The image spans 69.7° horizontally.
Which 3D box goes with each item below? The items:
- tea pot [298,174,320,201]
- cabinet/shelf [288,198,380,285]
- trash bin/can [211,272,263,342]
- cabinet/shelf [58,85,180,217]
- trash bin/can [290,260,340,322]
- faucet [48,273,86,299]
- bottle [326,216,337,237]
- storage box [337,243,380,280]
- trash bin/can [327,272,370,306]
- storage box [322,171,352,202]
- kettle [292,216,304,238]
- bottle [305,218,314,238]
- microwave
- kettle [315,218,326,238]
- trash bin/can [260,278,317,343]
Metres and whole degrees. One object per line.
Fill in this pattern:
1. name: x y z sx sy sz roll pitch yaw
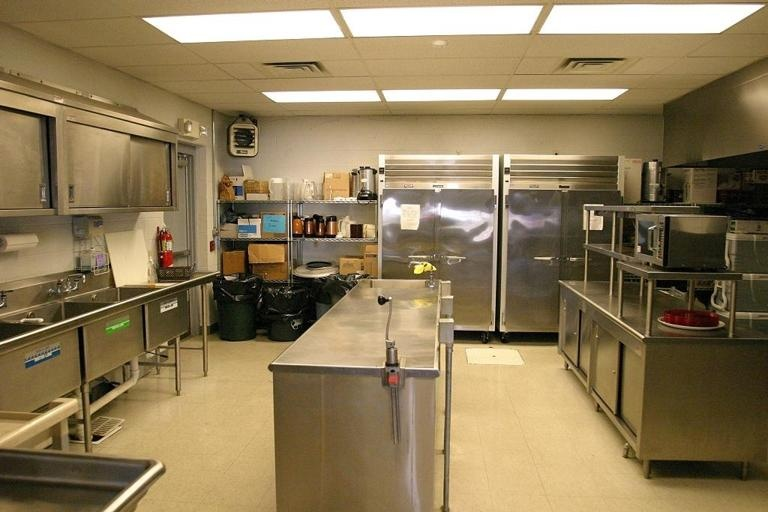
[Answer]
1. tea pot: -0.997 -0.886 7.431 0.319 0.313 0.296 1 6 0
2. cabinet/shelf: -0.623 -0.198 7.329 1.344 1.121 0.412 0 1 -1
3. trash bin/can: -1.828 0.674 6.973 0.569 0.791 0.397 -3 7 -15
4. cabinet/shelf: -2.599 -0.892 5.064 0.566 1.013 1.574 5 6 11
5. trash bin/can: -0.759 0.445 7.280 0.751 0.737 0.700 0 5 11
6. faucet: -2.802 0.268 4.920 0.136 0.185 0.351 0 6 7
7. bottle: -0.673 -0.380 7.341 0.182 0.286 0.145 -4 7 -20
8. storage box: -0.323 0.075 7.321 0.532 0.280 0.484 1 2 2
9. trash bin/can: -0.453 0.421 6.987 0.481 0.360 0.392 0 3 -2
10. storage box: -0.597 -0.915 7.271 0.388 0.323 0.358 0 -2 -1
11. kettle: -1.157 -0.384 7.362 0.144 0.293 0.171 -8 9 -43
12. bottle: -0.982 -0.372 7.344 0.136 0.240 0.055 -2 7 -9
13. microwave: 2.344 -0.130 4.345 0.469 0.376 0.620 0 9 12
14. kettle: -0.830 -0.380 7.354 0.149 0.284 0.175 -4 7 -20
15. trash bin/can: -1.298 0.735 7.134 0.708 0.614 0.637 -2 -4 -15
